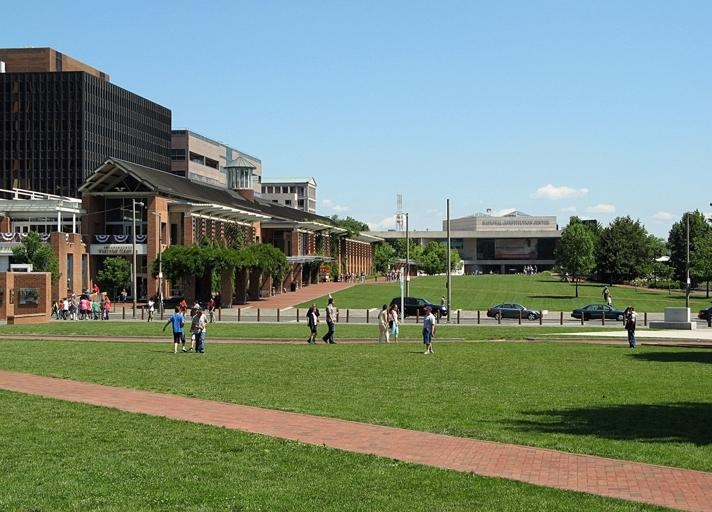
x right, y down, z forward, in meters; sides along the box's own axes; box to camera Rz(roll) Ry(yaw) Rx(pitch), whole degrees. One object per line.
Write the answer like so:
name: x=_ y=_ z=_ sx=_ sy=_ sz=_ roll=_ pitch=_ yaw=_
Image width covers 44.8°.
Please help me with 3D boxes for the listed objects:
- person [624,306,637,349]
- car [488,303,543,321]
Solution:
person: x=13.847 y=3.637 z=43.633 sx=0.470 sy=1.926 sz=1.529 roll=1 pitch=4 yaw=17
car: x=13.111 y=4.851 z=72.352 sx=3.951 sy=1.217 sz=1.675 roll=-2 pitch=-2 yaw=13
